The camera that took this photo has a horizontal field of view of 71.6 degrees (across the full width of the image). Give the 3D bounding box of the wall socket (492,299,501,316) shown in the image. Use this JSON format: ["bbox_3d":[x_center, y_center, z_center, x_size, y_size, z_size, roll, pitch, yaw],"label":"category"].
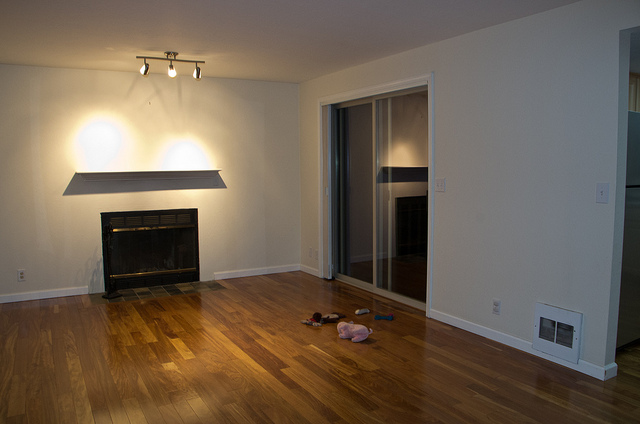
[{"bbox_3d":[1.902,1.026,4.791,0.082,0.162,0.039,9,17,33],"label":"wall socket"}]

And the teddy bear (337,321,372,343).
[{"bbox_3d":[0.364,1.311,4.876,0.262,0.124,0.194,5,0,19],"label":"teddy bear"}]

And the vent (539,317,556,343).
[{"bbox_3d":[2.261,1.177,4.417,0.045,0.176,0.190,6,-6,-32],"label":"vent"}]
